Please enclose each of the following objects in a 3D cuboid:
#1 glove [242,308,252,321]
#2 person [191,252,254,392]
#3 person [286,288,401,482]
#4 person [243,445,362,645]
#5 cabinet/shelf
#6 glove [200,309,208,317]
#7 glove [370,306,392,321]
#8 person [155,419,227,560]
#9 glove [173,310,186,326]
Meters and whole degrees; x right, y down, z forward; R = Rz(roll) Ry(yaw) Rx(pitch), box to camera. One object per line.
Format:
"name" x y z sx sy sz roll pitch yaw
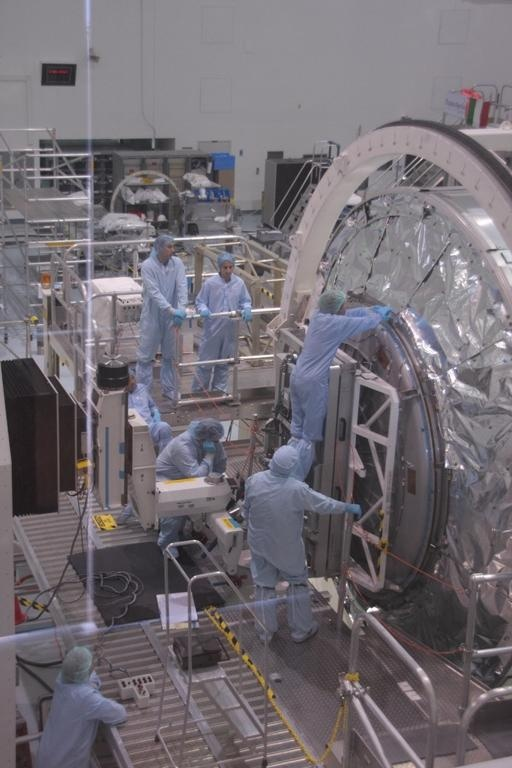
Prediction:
"glove" -0.099 -0.752 8.144 0.102 0.134 0.049 -6 -27 5
"person" -0.396 -0.672 8.655 0.611 1.633 1.233 4 12 -4
"person" 0.581 0.051 5.845 0.664 1.527 0.635 6 13 6
"person" 0.269 1.171 5.500 0.769 1.538 0.483 4 13 0
"cabinet/shelf" -2.098 -4.328 16.339 2.417 2.218 1.754 -7 16 -29
"glove" -0.545 -0.753 7.995 0.080 0.080 0.104 2 12 -10
"glove" 0.890 -0.516 5.387 0.124 0.048 0.092 25 -11 34
"person" -0.562 0.947 6.536 0.725 1.327 0.646 0 37 -10
"glove" -0.767 -0.693 7.687 0.149 0.129 0.133 7 5 34
